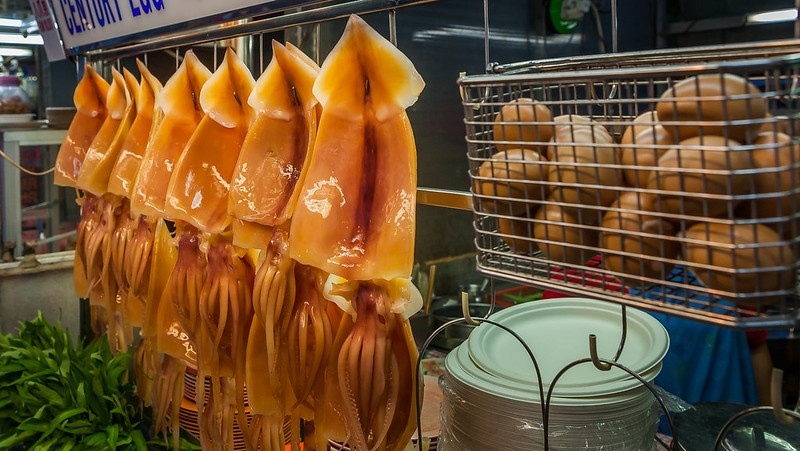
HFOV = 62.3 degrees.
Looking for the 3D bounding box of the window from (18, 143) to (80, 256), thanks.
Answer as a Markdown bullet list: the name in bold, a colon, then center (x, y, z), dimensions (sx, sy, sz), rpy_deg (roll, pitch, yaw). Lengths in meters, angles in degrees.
- **window**: center (-1.727, -0.121, 3.214), dimensions (0.459, 0.553, 0.023), rpy_deg (12, 15, 32)
